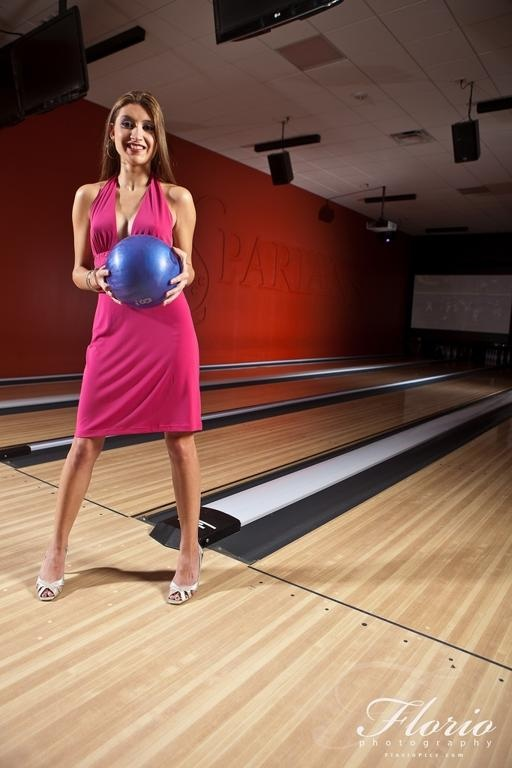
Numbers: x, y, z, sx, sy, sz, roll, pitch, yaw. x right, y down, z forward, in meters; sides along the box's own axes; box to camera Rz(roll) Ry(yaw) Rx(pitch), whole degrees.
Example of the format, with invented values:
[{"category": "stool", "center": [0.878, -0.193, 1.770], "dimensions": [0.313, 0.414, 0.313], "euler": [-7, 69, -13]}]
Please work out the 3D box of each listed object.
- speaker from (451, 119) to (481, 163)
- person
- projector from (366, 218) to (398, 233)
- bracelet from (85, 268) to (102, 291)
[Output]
[{"category": "speaker", "center": [1.899, -2.263, 4.255], "dimensions": [0.219, 0.354, 0.266], "euler": [7, 4, 33]}, {"category": "person", "center": [-0.245, -0.077, 0.986], "dimensions": [0.344, 1.029, 0.247], "euler": [4, 3, -15]}, {"category": "projector", "center": [2.268, -2.926, 8.496], "dimensions": [0.569, 0.216, 0.600], "euler": [3, 6, 15]}, {"category": "bracelet", "center": [-0.311, -0.198, 0.887], "dimensions": [0.023, 0.041, 0.048], "euler": [-2, -2, -4]}]
